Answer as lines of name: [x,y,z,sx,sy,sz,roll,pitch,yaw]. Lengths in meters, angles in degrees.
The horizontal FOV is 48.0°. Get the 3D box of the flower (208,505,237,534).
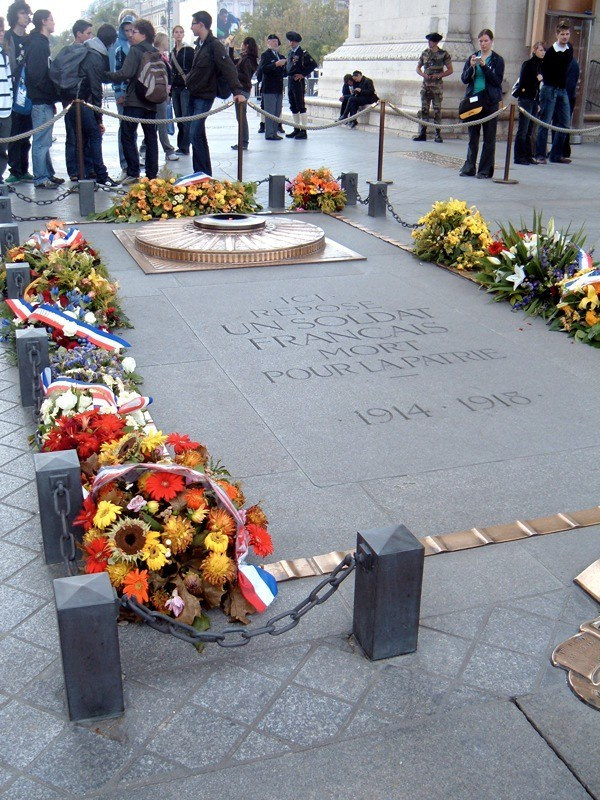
flower: [-0.251,0.398,2.148,0.076,0.083,0.078,7,20,19]

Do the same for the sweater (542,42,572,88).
sweater: [4.834,-6.239,12.603,0.643,0.732,0.385,-8,21,-22]

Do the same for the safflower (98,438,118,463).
safflower: [-0.680,0.182,2.387,0.074,0.037,0.070,0,32,2]

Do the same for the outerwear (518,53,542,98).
outerwear: [4.263,-5.990,12.464,0.417,0.820,0.726,6,20,17]

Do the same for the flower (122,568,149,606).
flower: [-0.488,0.554,1.987,0.102,0.092,0.025,-8,-11,10]

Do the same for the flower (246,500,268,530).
flower: [-0.149,0.403,2.365,0.084,0.080,0.090,1,-3,-32]

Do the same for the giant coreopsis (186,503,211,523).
giant coreopsis: [-0.314,0.354,2.096,0.039,0.054,0.077,9,33,16]

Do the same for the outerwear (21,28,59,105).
outerwear: [-3.934,-4.965,10.194,0.520,0.958,0.750,-2,5,-14]

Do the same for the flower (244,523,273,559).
flower: [-0.170,0.481,2.288,0.112,0.045,0.107,-2,55,-54]

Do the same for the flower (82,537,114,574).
flower: [-0.628,0.474,2.060,0.115,0.105,0.046,-11,-14,17]

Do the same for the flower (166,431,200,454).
flower: [-0.421,0.169,2.409,0.101,0.037,0.095,16,28,2]

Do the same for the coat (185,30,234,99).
coat: [-1.255,-4.932,9.942,0.538,0.855,1.090,-16,24,-37]

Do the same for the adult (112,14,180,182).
adult: [-2.529,-4.560,10.213,1.032,2.202,0.878,2,26,-10]

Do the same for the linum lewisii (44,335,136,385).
linum lewisii: [-1.101,-0.178,3.559,0.350,0.140,0.336,4,20,-33]

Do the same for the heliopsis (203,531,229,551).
heliopsis: [-0.259,0.441,2.094,0.066,0.030,0.061,9,35,-10]

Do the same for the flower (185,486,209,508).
flower: [-0.319,0.306,2.107,0.062,0.027,0.061,1,39,-36]

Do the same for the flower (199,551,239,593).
flower: [-0.252,0.520,2.075,0.115,0.110,0.050,-3,9,-6]

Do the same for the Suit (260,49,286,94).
Suit: [-0.660,-7.775,15.899,0.597,1.085,0.803,-1,19,-3]

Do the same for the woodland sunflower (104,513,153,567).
woodland sunflower: [-0.522,0.421,1.986,0.135,0.122,0.046,-4,-15,-3]

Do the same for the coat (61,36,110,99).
coat: [-3.146,-5.031,10.049,0.577,0.682,0.523,-4,-5,-36]

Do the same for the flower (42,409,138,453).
flower: [-0.820,0.122,2.545,0.213,0.110,0.204,-7,15,7]

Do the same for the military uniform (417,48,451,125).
military uniform: [3.216,-7.572,16.230,0.737,1.674,0.922,2,20,8]

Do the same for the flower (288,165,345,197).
flower: [0.198,-2.912,9.255,0.604,0.343,0.562,2,36,3]

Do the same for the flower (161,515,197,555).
flower: [-0.371,0.410,2.046,0.114,0.100,0.065,-2,4,-42]

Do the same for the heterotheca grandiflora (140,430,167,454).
heterotheca grandiflora: [-0.515,0.156,2.373,0.080,0.090,0.176,-4,18,-9]

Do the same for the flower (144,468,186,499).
flower: [-0.427,0.279,2.118,0.125,0.079,0.094,-3,19,-7]

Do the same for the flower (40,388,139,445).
flower: [-0.908,0.027,2.833,0.312,0.180,0.321,3,4,3]

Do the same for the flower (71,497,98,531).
flower: [-0.682,0.363,2.139,0.034,0.110,0.115,29,-33,-34]

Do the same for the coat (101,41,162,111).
coat: [-2.633,-4.727,10.046,0.847,0.947,0.765,-9,6,-12]
